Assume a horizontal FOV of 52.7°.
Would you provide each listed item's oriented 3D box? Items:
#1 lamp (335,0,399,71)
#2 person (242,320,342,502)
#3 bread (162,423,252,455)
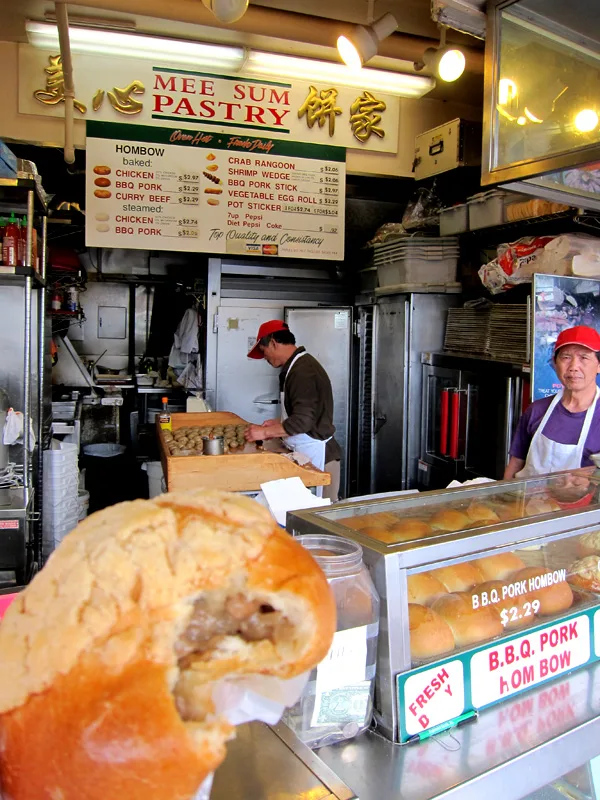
[{"bbox_3d":[0.318,-1.790,3.005,0.232,0.237,0.187,3,12,-28],"label":"lamp"},{"bbox_3d":[-0.004,0.093,4.054,0.736,1.160,0.895,9,11,-2],"label":"person"},{"bbox_3d":[-0.562,0.234,3.673,0.498,0.103,0.750,6,11,-10],"label":"bread"}]
